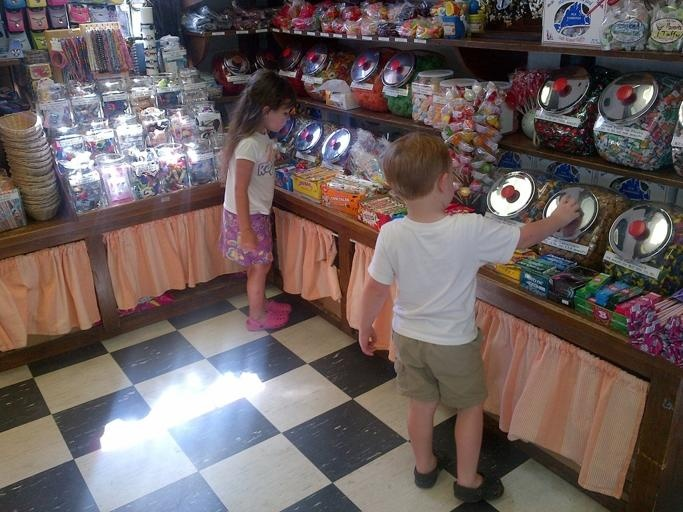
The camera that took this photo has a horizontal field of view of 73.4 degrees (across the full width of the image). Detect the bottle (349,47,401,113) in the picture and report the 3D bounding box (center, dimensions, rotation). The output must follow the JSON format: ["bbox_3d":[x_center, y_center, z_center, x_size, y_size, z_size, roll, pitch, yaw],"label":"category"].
[{"bbox_3d":[0.144,-1.101,2.925,0.353,0.374,0.370,-2,11,-13],"label":"bottle"}]

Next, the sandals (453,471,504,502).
[{"bbox_3d":[0.601,1.024,2.015,0.189,0.077,0.113,-6,20,-13],"label":"sandals"}]

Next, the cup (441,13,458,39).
[{"bbox_3d":[0.534,-1.144,2.270,0.092,0.125,0.065,15,28,41],"label":"cup"}]

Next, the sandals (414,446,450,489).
[{"bbox_3d":[0.402,0.986,2.118,0.087,0.078,0.194,1,28,24],"label":"sandals"}]

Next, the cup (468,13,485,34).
[{"bbox_3d":[0.687,-1.187,2.342,0.089,0.066,0.090,-4,27,2],"label":"cup"}]

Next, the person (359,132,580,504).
[{"bbox_3d":[0.424,0.291,1.877,0.687,1.493,0.426,11,30,21],"label":"person"}]

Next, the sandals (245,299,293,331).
[{"bbox_3d":[-0.489,0.423,3.179,0.267,0.122,0.150,-16,33,-28],"label":"sandals"}]
